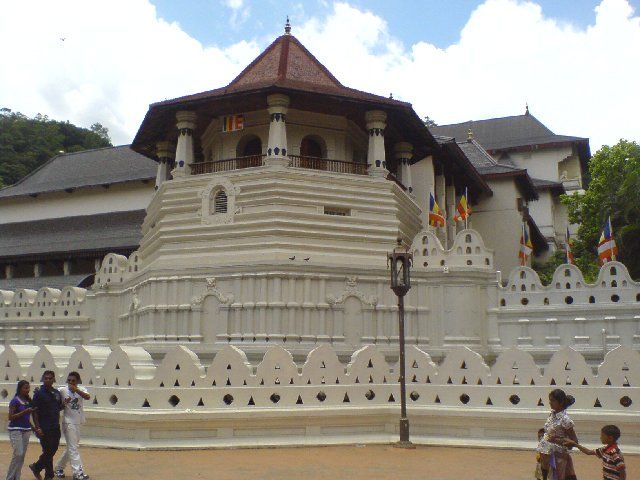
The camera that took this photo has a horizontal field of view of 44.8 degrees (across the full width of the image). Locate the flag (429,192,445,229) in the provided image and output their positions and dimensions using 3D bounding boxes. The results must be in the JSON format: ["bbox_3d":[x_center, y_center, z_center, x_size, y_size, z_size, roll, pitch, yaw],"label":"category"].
[{"bbox_3d":[4.862,-1.166,32.624,0.158,1.548,1.357,-12,-24,29],"label":"flag"}]
